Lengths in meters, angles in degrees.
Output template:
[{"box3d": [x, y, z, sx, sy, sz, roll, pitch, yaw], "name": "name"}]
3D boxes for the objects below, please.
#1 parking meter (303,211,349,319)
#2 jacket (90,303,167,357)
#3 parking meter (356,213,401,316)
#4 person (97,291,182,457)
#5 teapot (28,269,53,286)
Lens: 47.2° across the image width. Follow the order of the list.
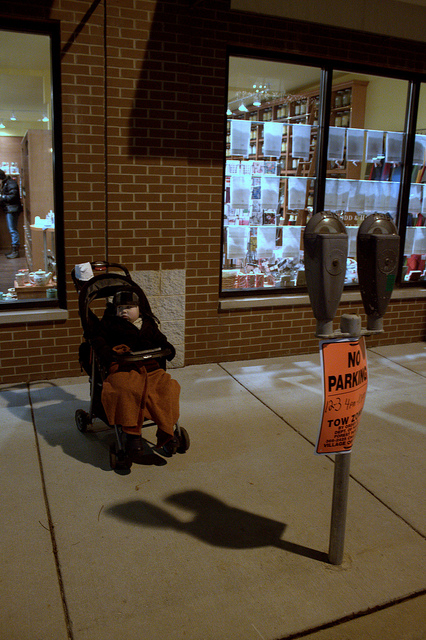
[{"box3d": [0.417, -0.202, 1.810, 0.177, 0.399, 0.160, -7, 15, -34], "name": "parking meter"}, {"box3d": [-0.531, 0.084, 3.020, 0.526, 0.398, 0.282, -4, -2, -32], "name": "jacket"}, {"box3d": [0.656, -0.213, 1.944, 0.169, 0.409, 0.120, -5, 8, -27], "name": "parking meter"}, {"box3d": [-0.460, 0.370, 2.982, 0.462, 1.025, 0.645, -2, 12, -13], "name": "person"}, {"box3d": [-1.597, -0.397, 4.517, 0.184, 0.125, 0.141, 1, 12, -5], "name": "teapot"}]
